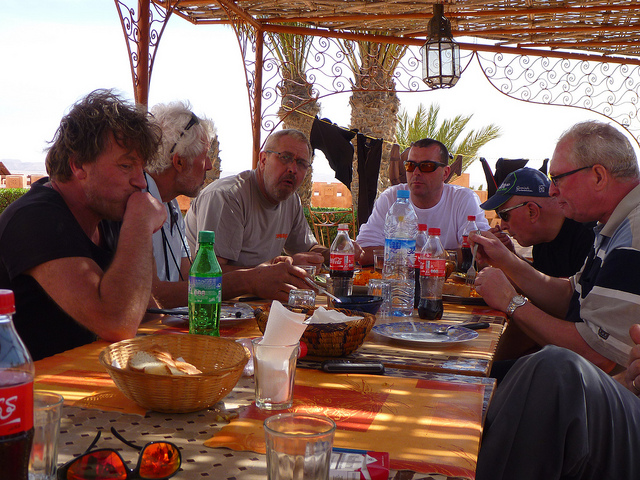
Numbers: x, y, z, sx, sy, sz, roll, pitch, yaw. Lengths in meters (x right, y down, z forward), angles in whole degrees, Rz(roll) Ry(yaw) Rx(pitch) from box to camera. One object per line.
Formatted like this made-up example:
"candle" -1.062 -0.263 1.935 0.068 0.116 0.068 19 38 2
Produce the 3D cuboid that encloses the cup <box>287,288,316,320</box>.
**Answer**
"cup" -0.079 0.295 2.179 0.096 0.111 0.099 3 -1 0

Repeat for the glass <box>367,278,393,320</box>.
"glass" 0.312 0.301 2.500 0.125 0.200 0.211 1 10 0

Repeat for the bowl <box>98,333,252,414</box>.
"bowl" -0.387 0.385 1.406 0.362 0.134 0.364 10 5 -1

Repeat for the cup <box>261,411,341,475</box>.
"cup" -0.046 0.391 0.965 0.118 0.105 0.131 2 -11 1

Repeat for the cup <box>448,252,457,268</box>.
"cup" 1.198 0.158 4.368 0.080 0.145 0.081 0 7 0

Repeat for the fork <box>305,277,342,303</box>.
"fork" 0.020 0.270 2.563 0.201 0.028 0.029 39 -7 10

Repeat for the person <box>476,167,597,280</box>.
"person" 1.971 -0.150 4.391 0.807 1.023 0.694 -21 1 21

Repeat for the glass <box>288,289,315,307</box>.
"glass" -0.087 0.274 2.287 0.084 0.073 0.085 3 -7 7

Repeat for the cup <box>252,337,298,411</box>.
"cup" -0.135 0.386 1.378 0.132 0.184 0.107 1 11 3

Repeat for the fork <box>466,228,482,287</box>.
"fork" 1.082 0.133 3.385 0.053 0.410 0.048 9 0 11

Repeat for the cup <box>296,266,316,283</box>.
"cup" -0.087 0.208 2.815 0.077 0.085 0.088 1 -1 1

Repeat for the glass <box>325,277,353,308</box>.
"glass" 0.100 0.293 2.673 0.142 0.165 0.143 1 5 -2

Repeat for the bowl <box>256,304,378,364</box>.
"bowl" -0.013 0.364 1.727 0.313 0.125 0.322 -4 -8 -1
